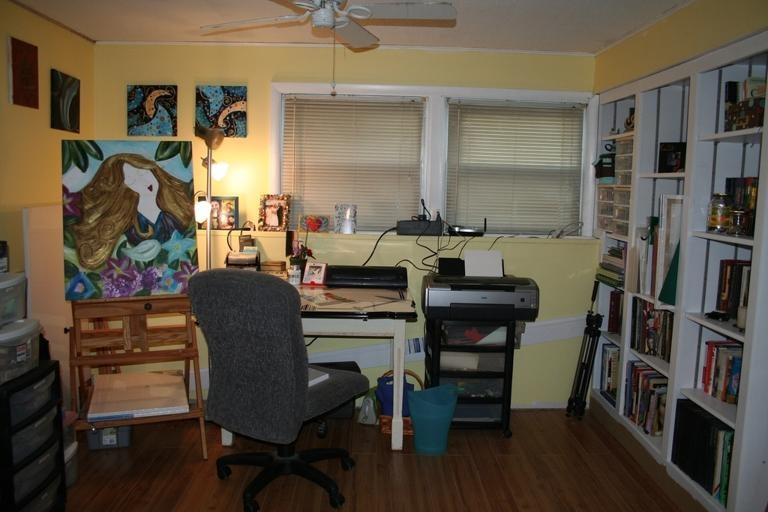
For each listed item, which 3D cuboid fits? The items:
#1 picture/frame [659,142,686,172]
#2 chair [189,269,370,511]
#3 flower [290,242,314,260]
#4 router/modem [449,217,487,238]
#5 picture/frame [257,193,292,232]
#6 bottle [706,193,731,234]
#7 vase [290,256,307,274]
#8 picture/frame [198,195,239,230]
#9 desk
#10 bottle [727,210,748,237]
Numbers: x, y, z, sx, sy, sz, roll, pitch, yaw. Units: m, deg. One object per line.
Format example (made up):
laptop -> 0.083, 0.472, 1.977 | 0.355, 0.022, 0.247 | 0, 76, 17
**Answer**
picture/frame -> 2.061, -0.718, 4.278 | 0.216, 0.221, 0.053 | 5, 7, 33
chair -> -0.690, 0.839, 3.772 | 0.997, 1.566, 0.524 | -3, 10, -16
flower -> -0.667, -0.047, 4.850 | 0.166, 0.147, 0.179 | 1, 10, 1
router/modem -> 0.685, -0.228, 4.943 | 0.313, 0.114, 0.123 | 1, 10, 1
picture/frame -> -0.914, -0.366, 4.901 | 0.323, 0.374, 0.085 | 1, 1, -2
bottle -> 2.142, -0.286, 3.843 | 0.103, 0.244, 0.187 | -4, 11, -24
vase -> -0.692, 0.072, 4.765 | 0.123, 0.134, 0.126 | 5, 5, 34
picture/frame -> -1.364, -0.355, 4.879 | 0.295, 0.296, 0.021 | 0, 0, -4
desk -> -0.315, 0.558, 4.329 | 1.394, 1.041, 1.176 | 0, 2, 4
bottle -> 2.178, -0.214, 3.686 | 0.134, 0.190, 0.137 | 2, 2, 0
